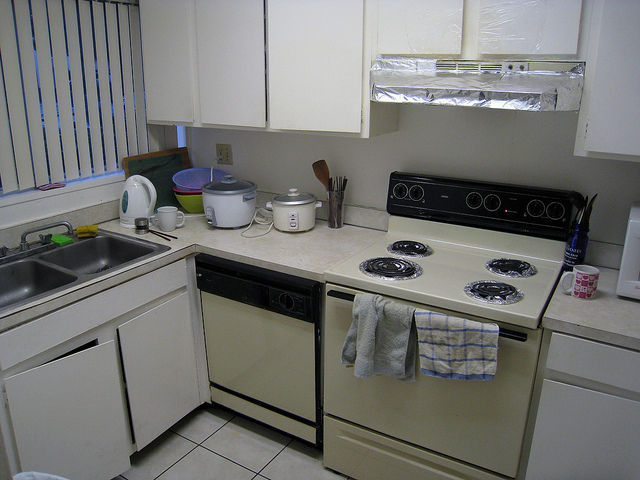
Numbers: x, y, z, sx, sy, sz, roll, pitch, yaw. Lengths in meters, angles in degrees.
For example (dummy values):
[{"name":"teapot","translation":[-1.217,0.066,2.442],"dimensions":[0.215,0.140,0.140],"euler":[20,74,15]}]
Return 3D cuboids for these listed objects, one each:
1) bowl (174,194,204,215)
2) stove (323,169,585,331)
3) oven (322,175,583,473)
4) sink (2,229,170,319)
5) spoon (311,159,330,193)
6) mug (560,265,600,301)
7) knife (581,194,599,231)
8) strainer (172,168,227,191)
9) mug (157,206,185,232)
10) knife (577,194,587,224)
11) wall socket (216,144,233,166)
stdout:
[{"name":"bowl","translation":[-0.806,-0.226,2.969],"dimensions":[0.149,0.087,0.149],"euler":[-1,10,0]},{"name":"stove","translation":[0.664,0.048,2.248],"dimensions":[0.961,0.405,0.745],"euler":[12,31,31]},{"name":"oven","translation":[0.547,0.488,2.278],"dimensions":[0.930,1.362,0.872],"euler":[12,23,30]},{"name":"sink","translation":[-1.200,0.155,2.352],"dimensions":[0.552,0.224,0.778],"euler":[16,26,35]},{"name":"spoon","translation":[0.010,-0.370,2.704],"dimensions":[0.064,0.214,0.031],"euler":[-7,44,14]},{"name":"mug","translation":[1.064,0.175,2.001],"dimensions":[0.151,0.115,0.093],"euler":[2,17,7]},{"name":"knife","translation":[1.221,-0.133,2.188],"dimensions":[0.036,0.170,0.035],"euler":[10,18,-6]},{"name":"strainer","translation":[-0.759,-0.391,3.045],"dimensions":[0.229,0.101,0.355],"euler":[9,23,23]},{"name":"mug","translation":[-0.842,-0.120,2.751],"dimensions":[0.112,0.122,0.170],"euler":[2,3,32]},{"name":"knife","translation":[1.154,-0.134,2.142],"dimensions":[0.021,0.139,0.022],"euler":[7,14,-5]},{"name":"wall socket","translation":[-0.617,-0.559,3.126],"dimensions":[0.122,0.142,0.015],"euler":[7,22,19]}]
